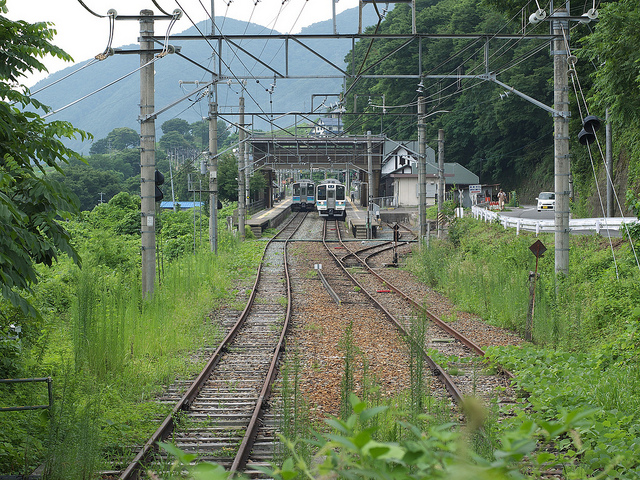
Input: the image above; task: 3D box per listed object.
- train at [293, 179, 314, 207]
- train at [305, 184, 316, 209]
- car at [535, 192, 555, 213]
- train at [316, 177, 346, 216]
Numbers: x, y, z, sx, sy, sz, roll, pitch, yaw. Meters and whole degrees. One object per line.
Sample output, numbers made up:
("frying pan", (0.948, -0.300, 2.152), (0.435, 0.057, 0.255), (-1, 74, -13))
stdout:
("train", (-1.632, -4.385, 78.234), (2.159, 3.298, 8.861), (0, 2, 4))
("train", (-0.956, -4.141, 78.543), (0.883, 2.320, 3.857), (-2, 3, -2))
("car", (13.918, -2.389, 50.845), (0.827, 1.027, 1.536), (-2, 3, 8))
("train", (0.823, -3.482, 66.845), (2.213, 2.675, 2.300), (-2, 3, -1))
